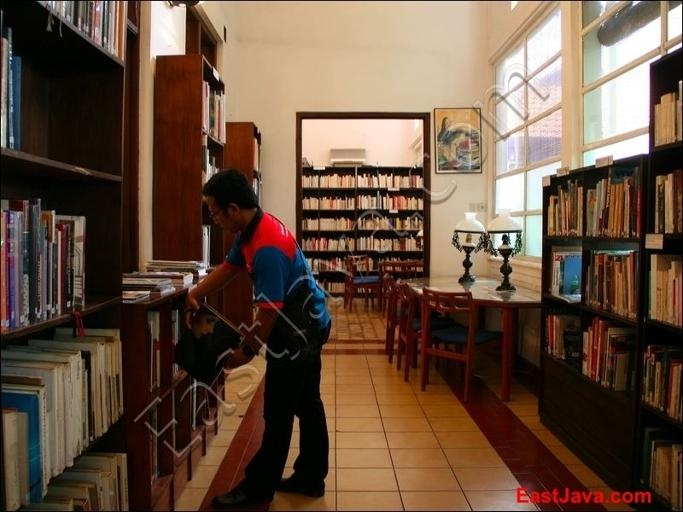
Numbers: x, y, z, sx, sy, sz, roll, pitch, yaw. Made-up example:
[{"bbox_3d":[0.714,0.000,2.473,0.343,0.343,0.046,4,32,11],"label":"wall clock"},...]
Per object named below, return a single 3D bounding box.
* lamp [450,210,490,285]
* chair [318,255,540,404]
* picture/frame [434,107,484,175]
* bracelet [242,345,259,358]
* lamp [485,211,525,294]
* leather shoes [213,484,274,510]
[{"bbox_3d":[1.271,-0.072,5.498,0.320,0.689,0.378,3,-4,17],"label":"lamp"},{"bbox_3d":[1.158,0.563,4.919,1.149,0.884,1.558,1,9,6],"label":"chair"},{"bbox_3d":[1.434,-1.421,6.819,0.572,0.920,0.028,0,-18,11],"label":"picture/frame"},{"bbox_3d":[-0.455,0.471,2.702,0.068,0.065,0.020,27,32,-27],"label":"bracelet"},{"bbox_3d":[1.458,-0.042,4.874,0.276,0.690,0.288,-4,4,-28],"label":"lamp"},{"bbox_3d":[-0.531,1.294,2.991,0.330,0.159,0.129,7,-2,-6],"label":"leather shoes"}]
